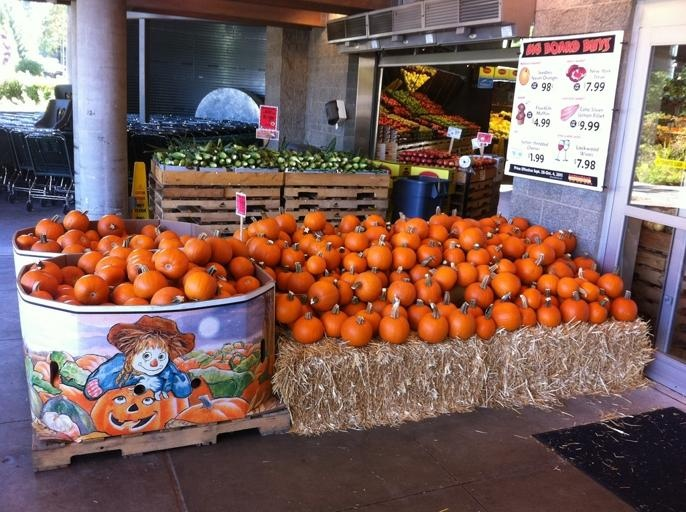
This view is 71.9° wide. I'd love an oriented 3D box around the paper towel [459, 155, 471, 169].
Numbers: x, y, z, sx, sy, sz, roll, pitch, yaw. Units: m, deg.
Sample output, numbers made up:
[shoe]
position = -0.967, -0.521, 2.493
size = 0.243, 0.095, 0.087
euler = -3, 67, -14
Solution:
[paper towel]
position = 2.044, -1.546, 7.887
size = 0.197, 0.235, 0.430
euler = 5, 19, 11
